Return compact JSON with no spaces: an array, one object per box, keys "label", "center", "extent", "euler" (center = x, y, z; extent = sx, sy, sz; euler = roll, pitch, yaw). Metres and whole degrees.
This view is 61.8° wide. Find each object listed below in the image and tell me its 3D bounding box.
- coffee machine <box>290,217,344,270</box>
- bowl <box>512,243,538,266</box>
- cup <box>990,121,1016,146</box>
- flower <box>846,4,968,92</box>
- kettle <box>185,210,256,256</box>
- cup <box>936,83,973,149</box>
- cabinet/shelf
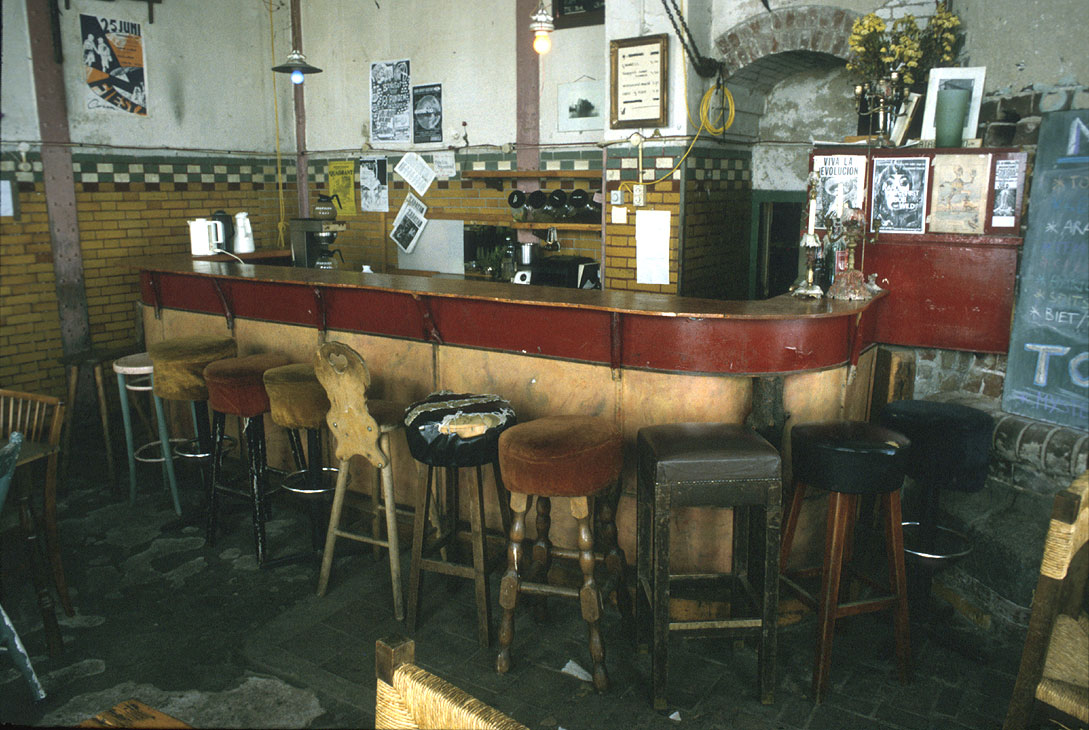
[{"label":"coffee machine","center":[-2.249,-1.179,8.973],"extent":[0.540,0.506,0.301],"euler":[9,13,42]},{"label":"bowl","center":[-0.218,-1.058,8.690],"extent":[0.348,0.206,0.215],"euler":[11,20,39]},{"label":"cup","center":[3.297,-1.659,6.537],"extent":[0.181,0.157,0.179],"euler":[-3,14,1]},{"label":"flower","center":[2.676,-2.327,6.724],"extent":[0.791,0.574,0.530],"euler":[3,16,16]},{"label":"kettle","center":[-3.158,-1.292,8.980],"extent":[0.427,0.443,0.653],"euler":[5,6,36]},{"label":"cup","center":[2.834,-1.715,6.316],"extent":[0.191,0.407,0.162],"euler":[1,16,11]},{"label":"cabinet/shelf","center":[-0.226,-1.651,8.786],"extent":[1.629,0.489,0.489],"euler":[-8,18,-36]}]
